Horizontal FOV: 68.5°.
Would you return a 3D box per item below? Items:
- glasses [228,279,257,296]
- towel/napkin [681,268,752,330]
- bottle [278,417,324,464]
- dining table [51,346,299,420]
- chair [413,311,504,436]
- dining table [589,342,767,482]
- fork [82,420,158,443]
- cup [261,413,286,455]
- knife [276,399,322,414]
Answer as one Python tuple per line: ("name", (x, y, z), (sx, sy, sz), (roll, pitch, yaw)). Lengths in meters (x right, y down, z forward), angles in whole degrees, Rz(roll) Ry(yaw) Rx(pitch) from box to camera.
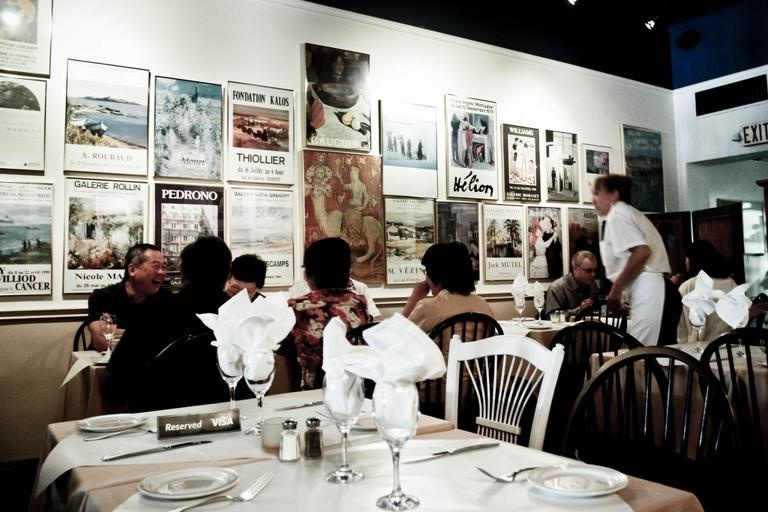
("glasses", (-1.040, 0.233, 4.179), (0.081, 0.135, 0.089), (40, 7, -32))
("towel/napkin", (2.243, 0.332, 3.736), (0.184, 0.412, 0.400), (11, 9, -24))
("bottle", (-0.328, 0.749, 2.328), (0.206, 0.172, 0.113), (3, -5, -12))
("dining table", (-1.183, 0.727, 3.176), (0.744, 0.354, 0.760), (1, -8, -11))
("chair", (0.459, 0.666, 3.453), (0.618, 0.869, 0.522), (7, -9, -43))
("dining table", (1.461, 0.784, 2.773), (0.603, 0.863, 0.582), (-10, -18, 43))
("fork", (-1.125, 0.776, 2.494), (0.084, 0.029, 0.369), (15, 12, 43))
("cup", (-0.458, 0.741, 2.325), (0.126, 0.133, 0.130), (1, -7, 0))
("knife", (-0.417, 0.750, 2.785), (0.216, 0.012, 0.029), (0, 10, -39))
